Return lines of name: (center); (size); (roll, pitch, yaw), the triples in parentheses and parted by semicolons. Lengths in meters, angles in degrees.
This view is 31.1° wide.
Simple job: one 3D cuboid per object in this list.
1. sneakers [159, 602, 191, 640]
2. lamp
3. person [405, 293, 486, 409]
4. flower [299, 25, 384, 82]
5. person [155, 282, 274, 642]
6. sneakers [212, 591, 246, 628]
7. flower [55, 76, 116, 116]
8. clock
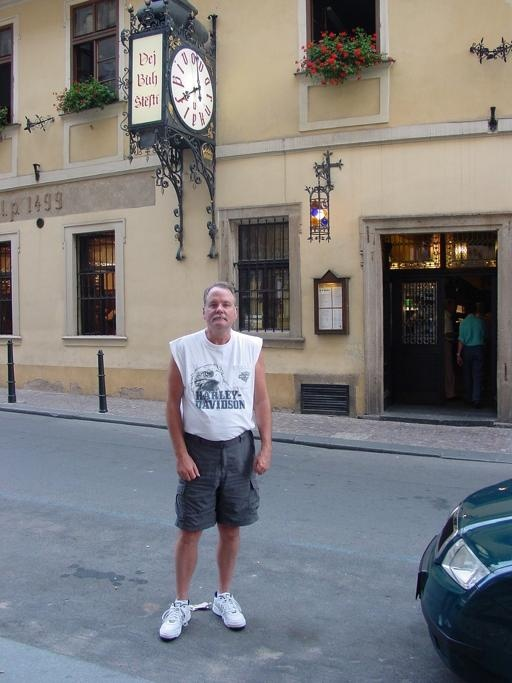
sneakers: (-0.387, 1.327, 4.449); (0.139, 0.145, 0.299); (0, 2, -1)
lamp: (0.793, -1.764, 11.021); (0.375, 1.136, 0.325); (-3, 8, -21)
person: (2.486, 0.014, 12.101); (1.047, 1.575, 1.257); (0, 2, 19)
flower: (0.964, -3.348, 10.713); (1.106, 0.623, 0.494); (1, 2, 32)
person: (-0.191, 0.557, 4.470); (0.574, 1.677, 0.290); (-1, 1, -10)
sneakers: (-0.132, 1.322, 4.515); (0.077, 0.101, 0.220); (-1, -1, -23)
flower: (-2.435, -3.456, 12.897); (1.147, 0.443, 0.301); (1, 2, 35)
clock: (-0.742, -3.021, 11.025); (0.094, 1.024, 1.007); (-16, 32, -34)
